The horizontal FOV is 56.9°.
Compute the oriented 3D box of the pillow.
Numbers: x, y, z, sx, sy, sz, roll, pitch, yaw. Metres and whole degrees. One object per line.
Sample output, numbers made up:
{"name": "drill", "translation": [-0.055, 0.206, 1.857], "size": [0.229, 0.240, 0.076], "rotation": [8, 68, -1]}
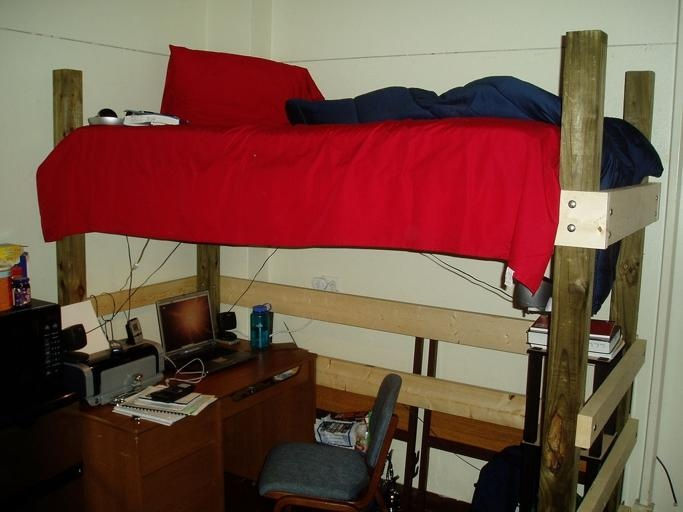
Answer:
{"name": "pillow", "translation": [-0.657, -1.073, 4.077], "size": [0.960, 0.447, 0.630], "rotation": [3, -20, -8]}

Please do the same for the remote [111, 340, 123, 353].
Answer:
{"name": "remote", "translation": [-1.312, 0.525, 3.678], "size": [0.048, 0.022, 0.083], "rotation": [2, 14, -24]}

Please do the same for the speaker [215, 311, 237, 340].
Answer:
{"name": "speaker", "translation": [-0.820, 0.496, 4.504], "size": [0.169, 0.249, 0.144], "rotation": [1, 2, 22]}

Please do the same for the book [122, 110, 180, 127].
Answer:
{"name": "book", "translation": [-1.119, -0.789, 3.678], "size": [0.210, 0.080, 0.157], "rotation": [3, 7, 5]}

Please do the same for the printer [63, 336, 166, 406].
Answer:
{"name": "printer", "translation": [-1.328, 0.560, 3.580], "size": [0.259, 0.230, 0.432], "rotation": [6, 8, 27]}

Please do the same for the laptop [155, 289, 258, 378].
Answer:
{"name": "laptop", "translation": [-0.899, 0.512, 4.135], "size": [0.442, 0.465, 0.568], "rotation": [2, 7, 26]}
